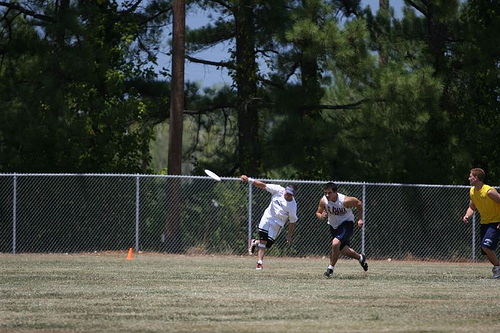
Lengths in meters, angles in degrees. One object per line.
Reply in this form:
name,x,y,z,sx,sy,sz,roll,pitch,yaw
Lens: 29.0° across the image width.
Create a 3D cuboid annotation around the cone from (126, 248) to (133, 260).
cone,-3.952,2.887,31.694,0.268,0.397,0.264,4,-3,14
